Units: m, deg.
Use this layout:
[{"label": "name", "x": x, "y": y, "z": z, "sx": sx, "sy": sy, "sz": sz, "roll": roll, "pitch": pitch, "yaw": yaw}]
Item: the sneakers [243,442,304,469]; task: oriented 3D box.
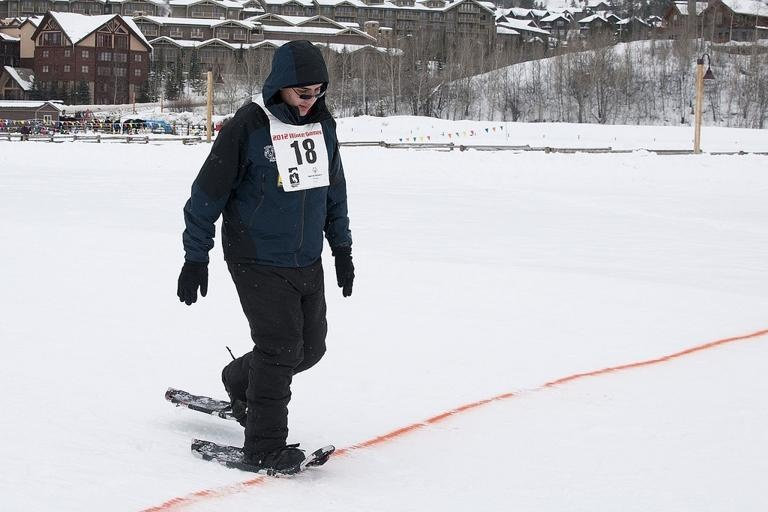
[{"label": "sneakers", "x": -0.734, "y": 1.373, "z": 6.365, "sx": 0.277, "sy": 0.149, "sz": 0.185, "roll": -6, "pitch": 2, "yaw": 13}]

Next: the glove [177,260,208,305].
[{"label": "glove", "x": -1.284, "y": 0.183, "z": 6.430, "sx": 0.198, "sy": 0.344, "sz": 0.229, "roll": -4, "pitch": -13, "yaw": -6}]

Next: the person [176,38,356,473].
[{"label": "person", "x": -0.799, "y": 0.003, "z": 6.357, "sx": 1.020, "sy": 2.834, "sz": 0.631, "roll": -2, "pitch": 11, "yaw": -10}]

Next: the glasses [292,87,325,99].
[{"label": "glasses", "x": -0.496, "y": -1.098, "z": 6.333, "sx": 0.247, "sy": 0.091, "sz": 0.086, "roll": -8, "pitch": 15, "yaw": -35}]
